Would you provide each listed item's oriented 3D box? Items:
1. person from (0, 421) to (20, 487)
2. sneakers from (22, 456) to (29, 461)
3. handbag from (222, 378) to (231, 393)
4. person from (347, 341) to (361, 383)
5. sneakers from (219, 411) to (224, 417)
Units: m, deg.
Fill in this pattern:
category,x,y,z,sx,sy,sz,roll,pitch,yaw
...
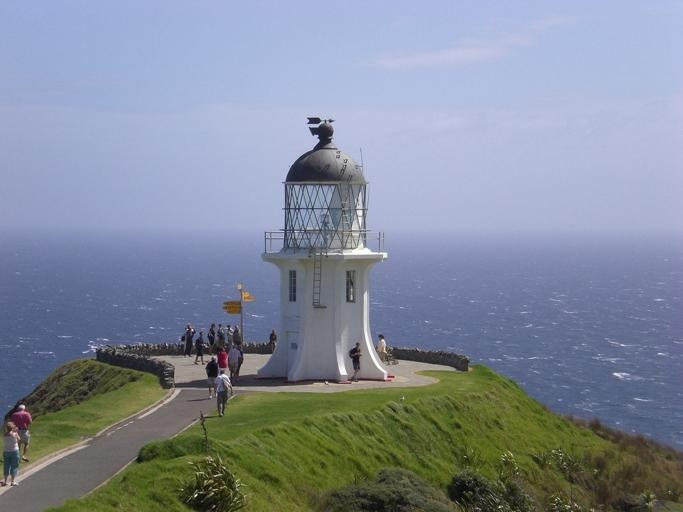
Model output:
category,x,y,z,sx,sy,sz,roll,pitch,yaw
person,-12.732,7.570,32.983,0.682,2.366,1.421,8,0,-21
sneakers,-13.135,8.387,35.607,0.360,0.272,0.132,-2,0,15
handbag,-5.412,5.992,40.962,0.331,0.636,0.408,-13,-29,-15
person,0.884,6.236,51.580,0.732,2.296,1.057,8,0,11
sneakers,-5.704,7.469,41.173,0.272,0.249,0.608,9,0,-7
